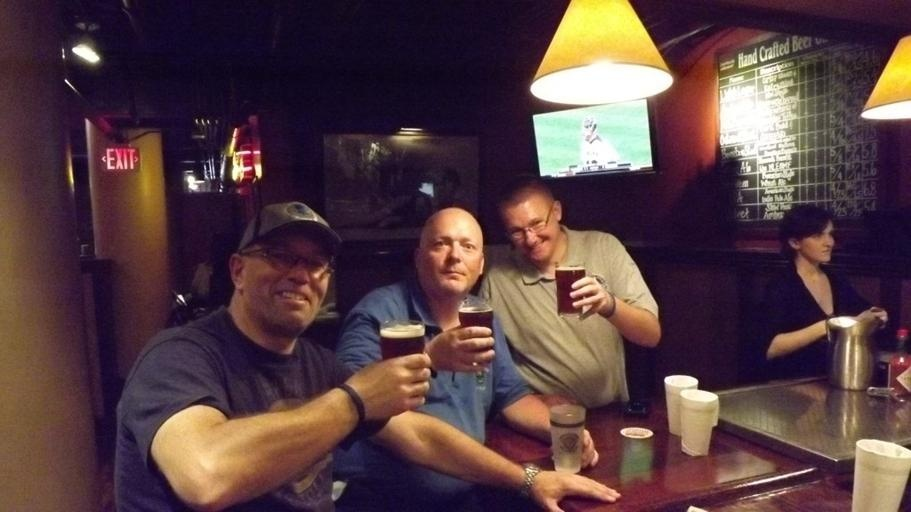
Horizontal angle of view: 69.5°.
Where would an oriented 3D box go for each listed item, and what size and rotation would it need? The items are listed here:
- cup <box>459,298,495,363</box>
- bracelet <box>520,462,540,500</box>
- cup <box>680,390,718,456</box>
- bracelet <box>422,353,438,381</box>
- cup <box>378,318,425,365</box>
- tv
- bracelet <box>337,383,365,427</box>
[{"bbox_3d":[0.117,0.381,4.101,0.222,0.276,0.194,-3,2,-2],"label":"cup"},{"bbox_3d":[0.428,1.326,3.842,0.115,0.151,0.171,12,-7,24],"label":"bracelet"},{"bbox_3d":[1.453,1.005,3.943,0.216,0.372,0.145,-2,4,0],"label":"cup"},{"bbox_3d":[-0.135,0.661,3.892,0.079,0.142,0.204,-15,13,-4],"label":"bracelet"},{"bbox_3d":[-0.304,0.475,3.730,0.265,0.230,0.216,0,-2,1],"label":"cup"},{"bbox_3d":[1.325,-1.139,6.369,1.393,0.700,0.088,-3,13,22],"label":"tv"},{"bbox_3d":[-0.562,0.803,3.557,0.140,0.207,0.041,-1,4,13],"label":"bracelet"}]
